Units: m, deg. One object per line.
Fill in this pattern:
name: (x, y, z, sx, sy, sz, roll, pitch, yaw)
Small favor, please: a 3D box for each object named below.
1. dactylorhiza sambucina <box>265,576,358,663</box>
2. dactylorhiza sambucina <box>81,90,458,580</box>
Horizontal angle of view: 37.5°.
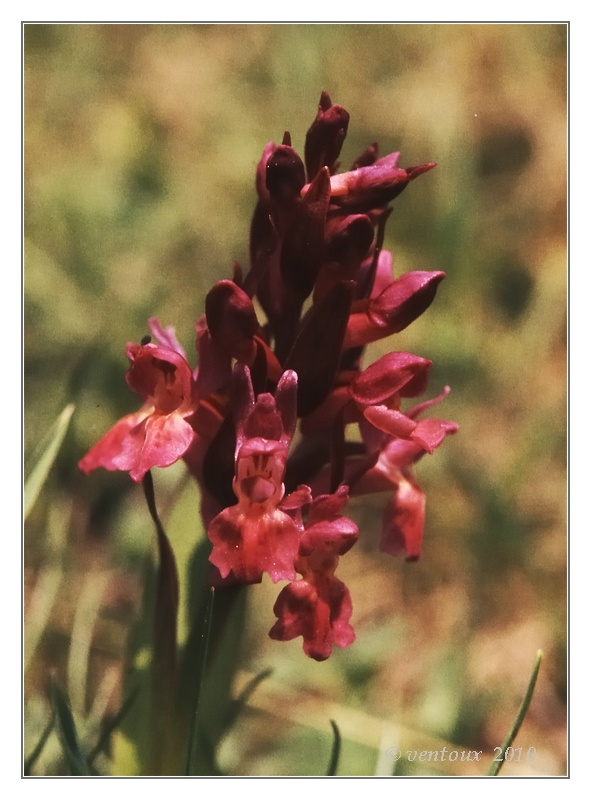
dactylorhiza sambucina: (0.029, 0.208, 0.838, 0.079, 0.087, 0.022, -10, -6, -18)
dactylorhiza sambucina: (-0.037, -0.067, 0.925, 0.417, 0.507, 0.311, 3, 13, 11)
